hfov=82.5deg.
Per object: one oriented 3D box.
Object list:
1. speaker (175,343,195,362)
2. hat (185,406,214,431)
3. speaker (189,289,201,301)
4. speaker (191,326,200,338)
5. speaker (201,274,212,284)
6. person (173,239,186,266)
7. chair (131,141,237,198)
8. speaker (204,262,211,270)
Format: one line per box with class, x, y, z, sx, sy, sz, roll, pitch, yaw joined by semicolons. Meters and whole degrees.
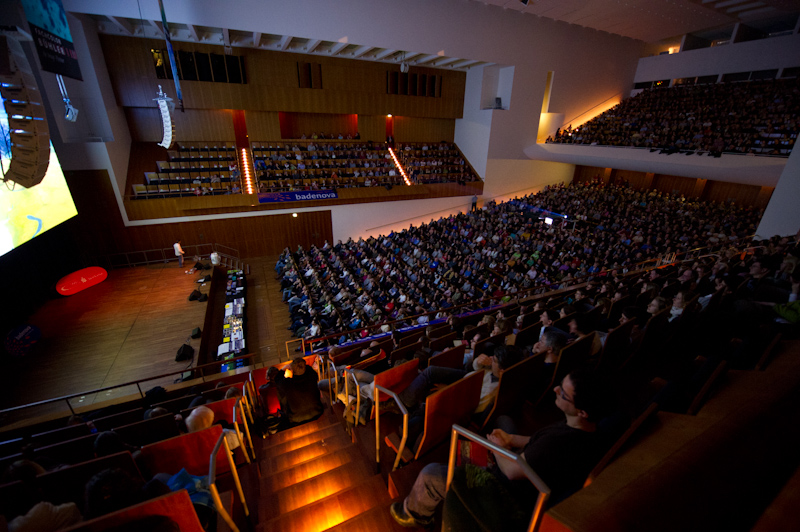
speaker;-5.794;2.306;12.287;0.522;0.327;0.458;-10;24;-26
hat;-3.575;2.655;8.159;0.375;0.470;0.484;12;26;-31
speaker;-6.576;0.918;14.609;0.376;0.235;0.475;-8;23;-21
speaker;-5.800;1.906;12.994;0.224;0.143;0.308;-25;36;-14
speaker;-6.643;0.452;15.632;0.247;0.075;0.254;-16;34;-36
person;-8.302;-0.594;17.128;0.290;0.935;1.354;-11;25;-27
chair;-8.722;-3.907;18.666;3.920;1.483;3.165;-8;23;-22
speaker;-7.040;-0.019;16.674;0.289;0.121;0.275;9;23;20
